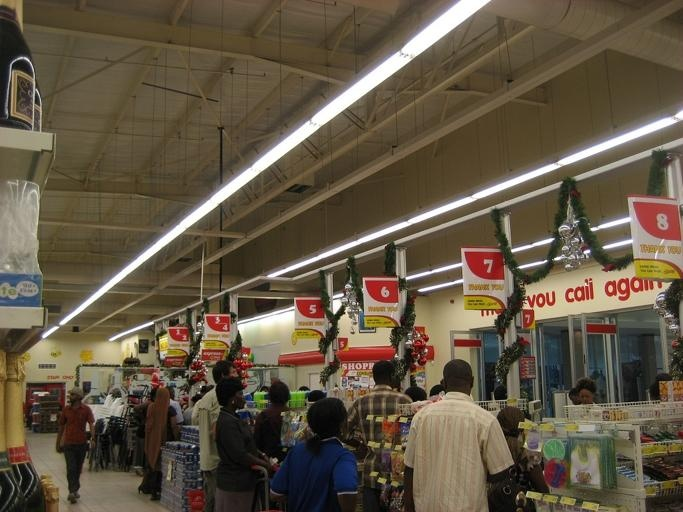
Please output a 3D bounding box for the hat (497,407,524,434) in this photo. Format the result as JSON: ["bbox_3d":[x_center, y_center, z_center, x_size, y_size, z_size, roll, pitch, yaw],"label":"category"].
[{"bbox_3d":[1.220,1.186,4.454,0.182,0.206,0.152,-5,-14,16],"label":"hat"}]

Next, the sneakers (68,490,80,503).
[{"bbox_3d":[-4.276,3.860,9.887,0.104,0.143,0.319,0,-26,-15],"label":"sneakers"}]

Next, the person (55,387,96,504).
[{"bbox_3d":[-4.435,3.121,10.286,0.556,1.799,0.851,5,-14,-24],"label":"person"}]
